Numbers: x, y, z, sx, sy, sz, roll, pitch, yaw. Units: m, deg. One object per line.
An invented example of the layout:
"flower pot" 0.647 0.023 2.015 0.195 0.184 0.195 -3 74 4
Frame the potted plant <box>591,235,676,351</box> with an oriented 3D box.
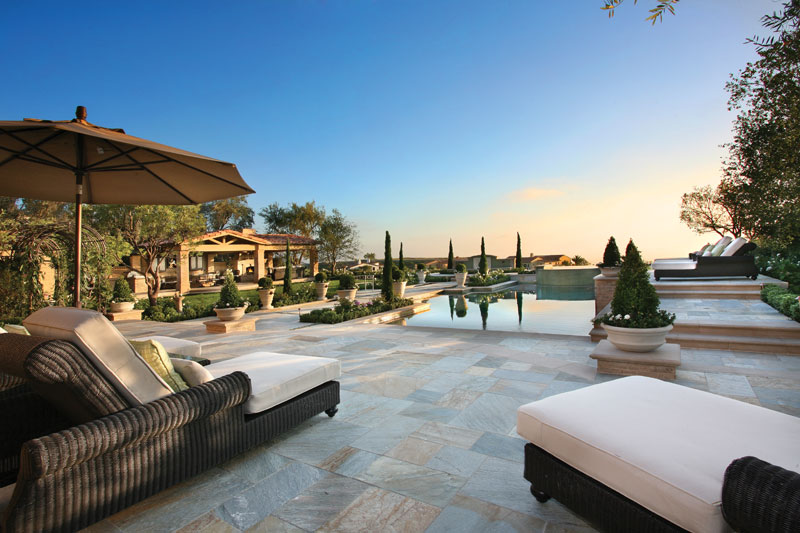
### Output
"potted plant" 3.119 0.380 5.281 1.065 1.331 1.034 -5 -4 43
